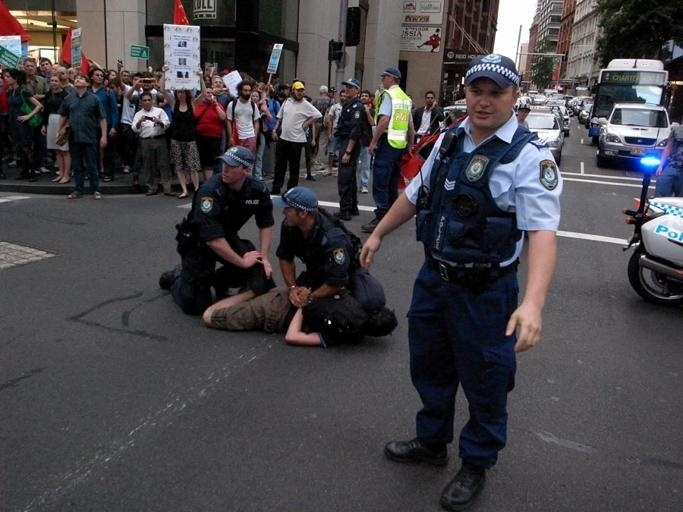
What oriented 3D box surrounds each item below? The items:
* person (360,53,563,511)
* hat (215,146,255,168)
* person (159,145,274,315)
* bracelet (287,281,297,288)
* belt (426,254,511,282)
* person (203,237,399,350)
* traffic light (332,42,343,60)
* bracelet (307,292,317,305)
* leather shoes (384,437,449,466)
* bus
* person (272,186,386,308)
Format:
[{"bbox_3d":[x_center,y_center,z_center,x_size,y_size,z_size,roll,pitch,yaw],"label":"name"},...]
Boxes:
[{"bbox_3d":[0.682,0.177,3.113,0.926,2.482,0.641,10,19,26],"label":"person"},{"bbox_3d":[-0.979,-0.892,5.201,0.276,0.148,0.204,12,10,-36],"label":"hat"},{"bbox_3d":[-1.134,-0.222,5.491,1.452,1.627,0.836,12,20,13],"label":"person"},{"bbox_3d":[-0.459,0.269,5.112,0.071,0.055,0.093,18,7,-33],"label":"bracelet"},{"bbox_3d":[0.708,0.072,3.034,0.486,0.131,0.183,6,18,12],"label":"belt"},{"bbox_3d":[-0.470,0.467,5.297,1.809,0.558,1.172,6,20,11],"label":"person"},{"bbox_3d":[-0.146,-5.857,15.876,0.433,0.588,0.424,2,21,5],"label":"traffic light"},{"bbox_3d":[-0.267,0.383,4.958,0.024,0.086,0.089,22,13,-35],"label":"bracelet"},{"bbox_3d":[0.471,1.246,3.556,0.399,0.189,0.174,7,32,4],"label":"leather shoes"},{"bbox_3d":[13.253,-7.759,25.598,2.118,3.113,6.585,5,11,27],"label":"bus"},{"bbox_3d":[-0.169,0.012,5.119,0.979,1.314,0.747,15,34,36],"label":"person"}]
